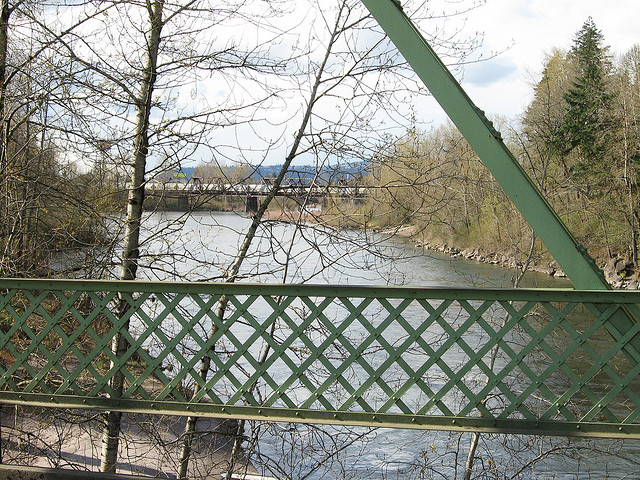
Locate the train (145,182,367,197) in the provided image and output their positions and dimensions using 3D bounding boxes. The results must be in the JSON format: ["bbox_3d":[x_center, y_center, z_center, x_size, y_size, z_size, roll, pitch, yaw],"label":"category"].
[{"bbox_3d":[-1.071,-1.015,18.655,4.087,0.296,1.037,1,-1,6],"label":"train"}]
